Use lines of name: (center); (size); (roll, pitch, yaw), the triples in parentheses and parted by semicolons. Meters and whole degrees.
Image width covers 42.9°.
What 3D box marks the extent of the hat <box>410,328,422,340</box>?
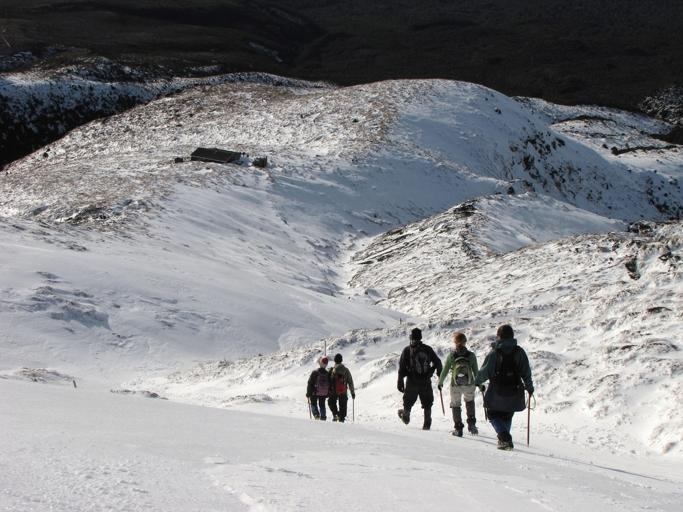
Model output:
hat: (2.693, 2.863, 31.198); (0.372, 0.453, 0.413); (4, 5, 0)

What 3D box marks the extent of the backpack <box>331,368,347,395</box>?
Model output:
backpack: (-0.048, 4.709, 32.137); (0.580, 0.880, 0.210); (4, 6, -3)

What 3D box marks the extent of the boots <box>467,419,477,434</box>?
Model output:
boots: (4.682, 6.117, 30.933); (0.488, 0.463, 0.234); (-3, -10, 5)

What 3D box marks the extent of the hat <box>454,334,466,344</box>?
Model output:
hat: (4.251, 2.960, 30.877); (0.418, 0.401, 0.271); (3, 6, -8)

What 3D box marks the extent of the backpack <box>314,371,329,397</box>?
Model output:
backpack: (-0.665, 4.762, 32.160); (0.525, 0.924, 0.234); (5, 6, -1)

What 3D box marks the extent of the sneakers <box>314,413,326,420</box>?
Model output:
sneakers: (-0.778, 5.970, 31.886); (0.464, 0.155, 0.161); (22, 15, 27)

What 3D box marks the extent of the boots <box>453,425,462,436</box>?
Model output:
boots: (4.140, 6.217, 30.741); (0.392, 0.308, 0.475); (4, 5, 7)
